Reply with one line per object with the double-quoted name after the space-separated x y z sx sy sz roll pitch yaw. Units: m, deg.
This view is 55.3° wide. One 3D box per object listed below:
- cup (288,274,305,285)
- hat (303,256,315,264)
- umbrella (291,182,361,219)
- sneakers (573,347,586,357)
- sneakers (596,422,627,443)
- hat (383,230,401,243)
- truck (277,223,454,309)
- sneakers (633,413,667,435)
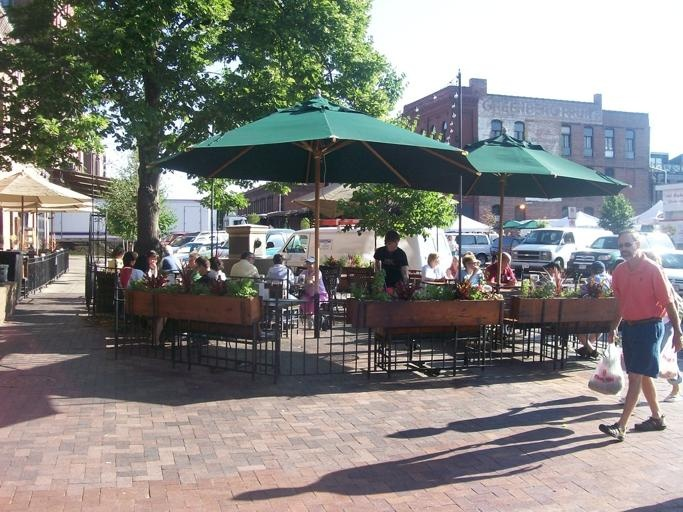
-0.979 0.537 15.033 0.177 0.197 0.359 -1 -9 2 "cup"
-0.740 0.056 15.213 0.220 0.106 0.322 3 -4 7 "hat"
-0.440 -1.713 19.418 1.316 0.574 1.312 -1 0 -36 "umbrella"
4.304 1.734 11.879 0.141 0.130 0.140 7 -33 10 "sneakers"
3.245 2.085 7.912 0.343 0.161 0.148 25 22 38 "sneakers"
0.841 -0.326 11.092 0.189 0.174 0.223 3 6 14 "hat"
0.006 0.037 22.946 4.302 1.986 1.844 0 8 3 "truck"
3.828 2.092 8.094 0.430 0.190 0.168 0 -5 1 "sneakers"
